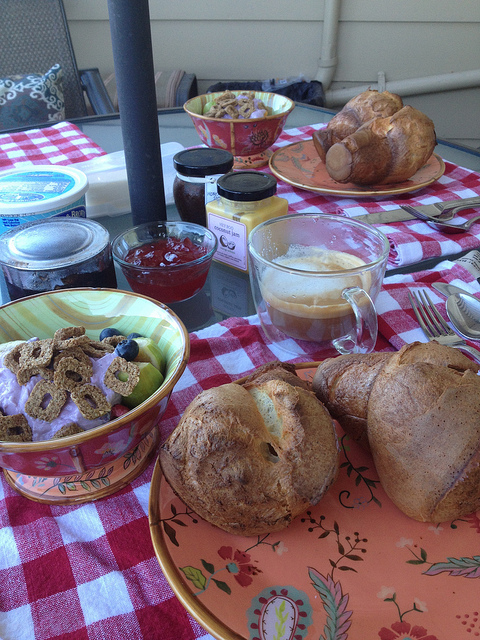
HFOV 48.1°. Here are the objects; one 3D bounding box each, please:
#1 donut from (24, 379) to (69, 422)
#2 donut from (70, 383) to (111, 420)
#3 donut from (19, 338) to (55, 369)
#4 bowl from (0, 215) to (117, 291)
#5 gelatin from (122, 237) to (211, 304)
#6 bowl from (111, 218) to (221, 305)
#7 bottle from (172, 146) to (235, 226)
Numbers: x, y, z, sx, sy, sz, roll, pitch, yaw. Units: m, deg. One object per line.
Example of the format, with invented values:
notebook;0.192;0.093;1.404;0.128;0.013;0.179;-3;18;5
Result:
donut;-0.177;0.074;0.485;0.039;0.009;0.034;6;63;4
donut;-0.135;0.075;0.490;0.027;0.022;0.027;-20;41;-26
donut;-0.193;0.030;0.513;0.033;0.013;0.047;-9;36;-13
bowl;-0.238;-0.086;0.705;0.089;0.053;0.087;4;40;-3
gelatin;-0.108;-0.074;0.809;0.122;0.097;0.136;-4;36;-6
bowl;-0.112;-0.110;0.782;0.156;0.068;0.142;1;36;-1
bottle;-0.057;-0.212;0.940;0.096;0.109;0.093;2;23;10
